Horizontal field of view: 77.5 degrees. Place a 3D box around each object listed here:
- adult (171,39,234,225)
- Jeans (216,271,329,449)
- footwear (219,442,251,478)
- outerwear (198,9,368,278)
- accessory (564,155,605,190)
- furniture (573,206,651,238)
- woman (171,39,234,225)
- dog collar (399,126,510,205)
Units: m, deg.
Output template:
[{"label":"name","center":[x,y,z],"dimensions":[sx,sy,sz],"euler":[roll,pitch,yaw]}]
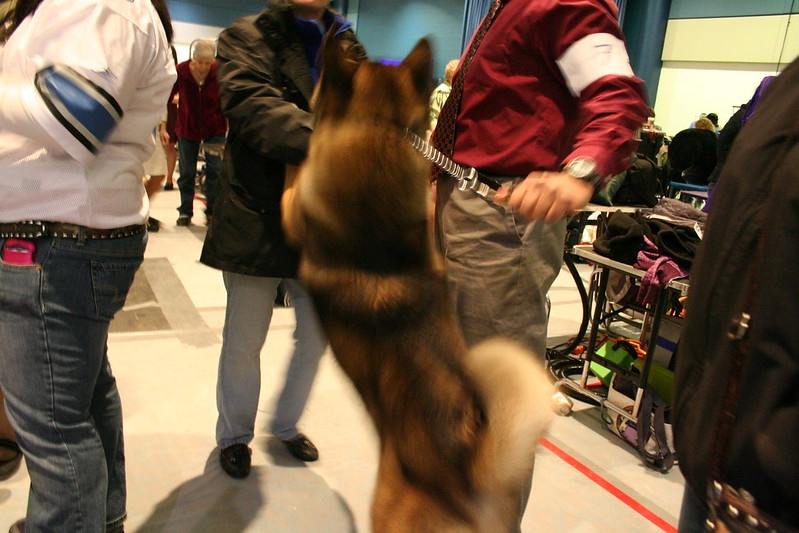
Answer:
[{"label":"adult","center":[-2.605,-1.768,6.522],"dimensions":[1.057,2.229,0.779],"euler":[-4,19,-27]},{"label":"Jeans","center":[-0.581,0.396,2.255],"dimensions":[0.460,0.297,1.065],"euler":[-7,36,2]},{"label":"footwear","center":[-0.813,0.950,2.494],"dimensions":[0.158,0.064,0.219],"euler":[5,31,-33]},{"label":"outerwear","center":[-0.532,-0.477,1.898],"dimensions":[0.513,1.295,0.763],"euler":[2,4,-25]},{"label":"accessory","center":[0.405,-0.204,1.094],"dimensions":[0.081,0.022,0.061],"euler":[7,34,-49]},{"label":"furniture","center":[1.678,-0.359,3.916],"dimensions":[0.538,0.124,0.341],"euler":[2,18,9]},{"label":"woman","center":[-2.602,-1.777,6.523],"dimensions":[1.063,2.195,0.760],"euler":[-5,20,-29]},{"label":"dog collar","center":[0.101,-0.164,0.868],"dimensions":[0.202,0.035,0.030],"euler":[24,-3,-38]}]
